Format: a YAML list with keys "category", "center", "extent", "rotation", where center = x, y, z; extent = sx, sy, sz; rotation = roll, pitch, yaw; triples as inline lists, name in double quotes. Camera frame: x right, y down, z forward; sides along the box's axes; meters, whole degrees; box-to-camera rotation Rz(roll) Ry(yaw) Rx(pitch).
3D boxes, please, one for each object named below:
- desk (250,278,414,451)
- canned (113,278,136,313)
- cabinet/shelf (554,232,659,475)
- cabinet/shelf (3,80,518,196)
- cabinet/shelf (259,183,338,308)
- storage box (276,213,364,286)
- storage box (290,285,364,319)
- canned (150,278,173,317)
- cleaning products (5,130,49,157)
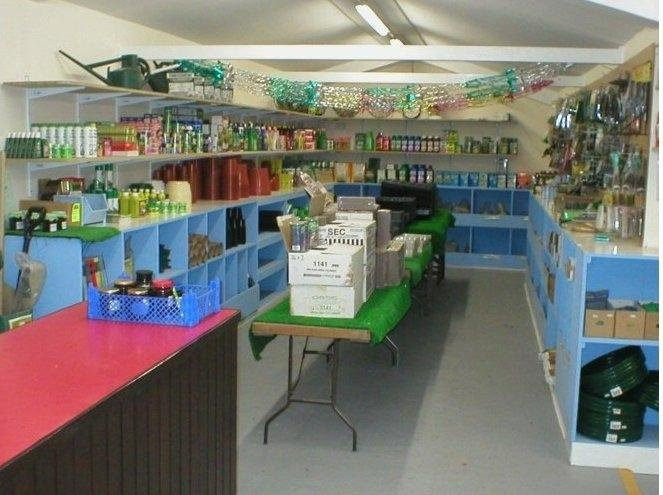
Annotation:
- category: "desk"
  center: [0.009, 0.686, 4.183]
  extent: [1.078, 0.973, 2.237]
  rotation: [2, 6, 16]
- category: "canned"
  center: [-1.143, 0.266, 2.910]
  extent: [0.149, 0.160, 0.147]
  rotation: [4, 5, 12]
- category: "cabinet/shelf"
  center: [2.046, 0.816, 3.943]
  extent: [0.556, 1.419, 1.681]
  rotation: [1, 4, 16]
- category: "cabinet/shelf"
  center: [-0.748, -1.552, 8.381]
  extent: [3.369, 1.311, 8.790]
  rotation: [10, 14, 40]
- category: "cabinet/shelf"
  center: [-0.231, -0.310, 4.610]
  extent: [0.518, 0.924, 1.460]
  rotation: [0, 13, 5]
- category: "storage box"
  center: [-0.067, 0.051, 3.958]
  extent: [0.637, 0.436, 0.602]
  rotation: [0, 11, -4]
- category: "storage box"
  center: [-0.058, 0.392, 3.805]
  extent: [0.310, 0.141, 0.306]
  rotation: [1, 3, 12]
- category: "canned"
  center: [-0.907, 0.252, 2.813]
  extent: [0.133, 0.136, 0.131]
  rotation: [5, 12, 9]
- category: "cleaning products"
  center: [-2.460, -0.825, 4.301]
  extent: [0.345, 0.209, 0.129]
  rotation: [0, 11, -7]
